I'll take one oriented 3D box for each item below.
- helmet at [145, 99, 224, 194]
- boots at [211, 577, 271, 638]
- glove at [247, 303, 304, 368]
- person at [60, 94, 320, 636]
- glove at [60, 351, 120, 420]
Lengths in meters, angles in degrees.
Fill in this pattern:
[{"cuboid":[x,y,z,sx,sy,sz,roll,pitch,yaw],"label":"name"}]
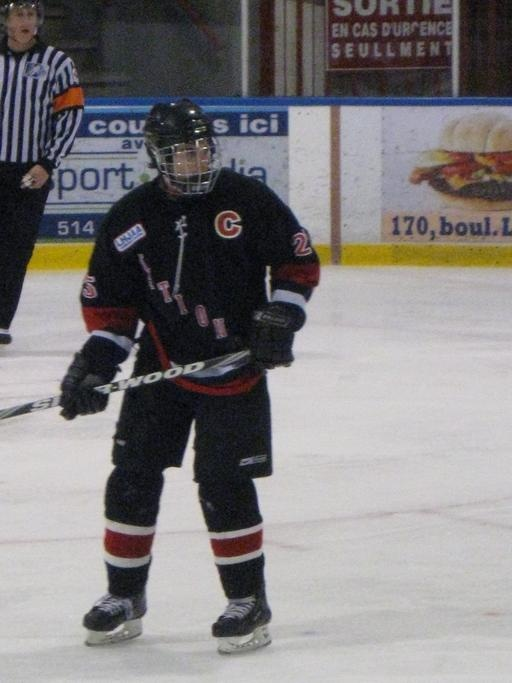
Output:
[{"cuboid":[-0.130,-0.353,1.889,0.129,0.172,0.172,-2,11,-12],"label":"helmet"},{"cuboid":[-0.029,0.472,1.820,0.054,0.089,0.160,-9,-14,35],"label":"boots"},{"cuboid":[0.040,-0.010,1.826,0.128,0.101,0.041,-3,12,-28],"label":"glove"},{"cuboid":[-0.122,0.044,1.853,0.456,0.940,0.401,1,12,3],"label":"person"},{"cuboid":[-0.311,0.090,1.911,0.111,0.056,0.120,33,41,3],"label":"glove"}]
